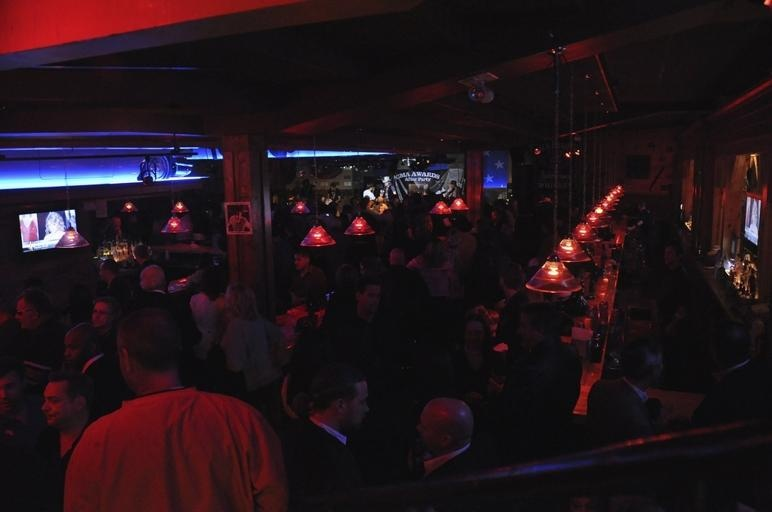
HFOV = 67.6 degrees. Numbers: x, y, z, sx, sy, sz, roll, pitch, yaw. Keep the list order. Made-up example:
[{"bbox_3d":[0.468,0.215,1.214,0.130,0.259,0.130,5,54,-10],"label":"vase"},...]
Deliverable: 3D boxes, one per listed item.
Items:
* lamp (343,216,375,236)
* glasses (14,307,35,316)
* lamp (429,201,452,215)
[{"bbox_3d":[-0.356,-0.429,8.432,0.343,0.207,0.351,0,0,21],"label":"lamp"},{"bbox_3d":[-3.304,0.508,5.290,0.126,0.038,0.130,2,-3,26],"label":"glasses"},{"bbox_3d":[1.148,-0.988,11.727,0.355,0.201,0.343,0,4,-1],"label":"lamp"}]
